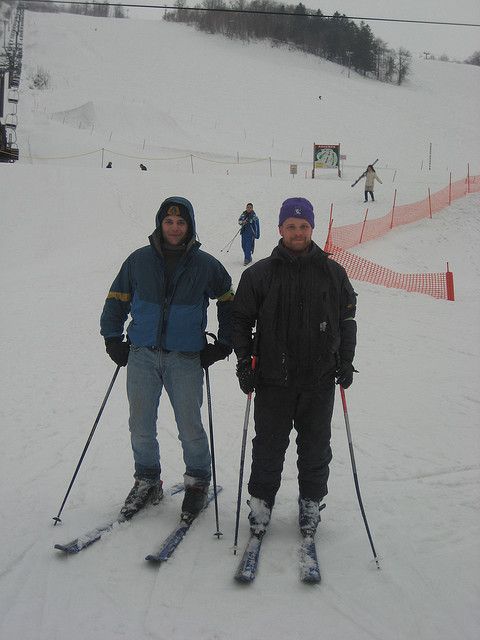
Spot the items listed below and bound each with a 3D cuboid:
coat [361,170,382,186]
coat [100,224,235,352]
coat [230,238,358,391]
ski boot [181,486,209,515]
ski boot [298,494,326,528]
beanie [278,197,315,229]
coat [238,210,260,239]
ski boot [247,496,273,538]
[{"bbox_3d":[3.618,-3.906,17.372,0.314,0.382,1.039,4,10,12],"label":"coat"},{"bbox_3d":[-0.384,-0.157,3.510,0.742,0.712,0.296,2,17,-5],"label":"coat"},{"bbox_3d":[0.279,-0.035,3.280,0.653,0.744,0.361,3,9,5],"label":"coat"},{"bbox_3d":[-0.256,0.999,3.561,0.117,0.151,0.283,3,9,6],"label":"ski boot"},{"bbox_3d":[0.369,1.009,3.334,0.112,0.166,0.168,3,9,5],"label":"ski boot"},{"bbox_3d":[0.302,-0.578,3.376,0.182,0.160,0.230,3,9,3],"label":"beanie"},{"bbox_3d":[0.179,-1.813,11.858,0.340,0.500,0.384,2,9,-3],"label":"coat"},{"bbox_3d":[0.103,1.022,3.278,0.141,0.195,0.438,0,-11,2],"label":"ski boot"}]
